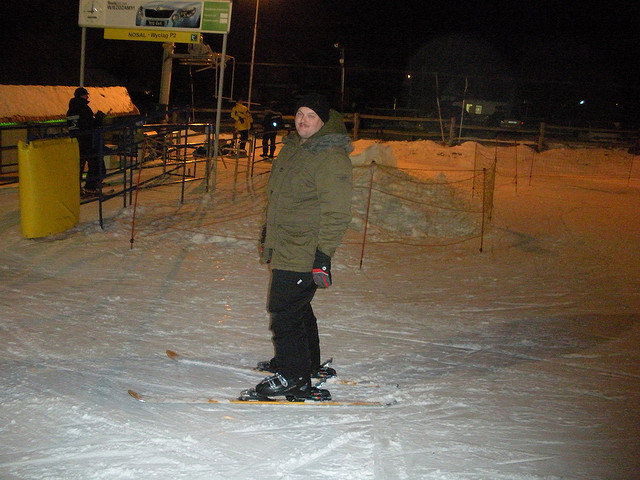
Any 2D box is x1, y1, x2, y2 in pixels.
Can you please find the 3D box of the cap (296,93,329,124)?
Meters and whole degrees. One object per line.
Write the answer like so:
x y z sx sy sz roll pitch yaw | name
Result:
-0.054 -1.067 4.368 0.262 0.248 0.209 3 8 -10 | cap

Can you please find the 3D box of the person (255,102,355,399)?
-0.137 0.105 4.372 0.720 2.424 0.483 7 9 4 | person

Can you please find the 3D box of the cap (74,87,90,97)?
-4.905 -3.021 11.000 0.287 0.200 0.232 -2 15 -44 | cap

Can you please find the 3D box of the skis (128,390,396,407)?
-0.553 1.289 4.371 2.180 0.069 0.183 1 1 -7 | skis
